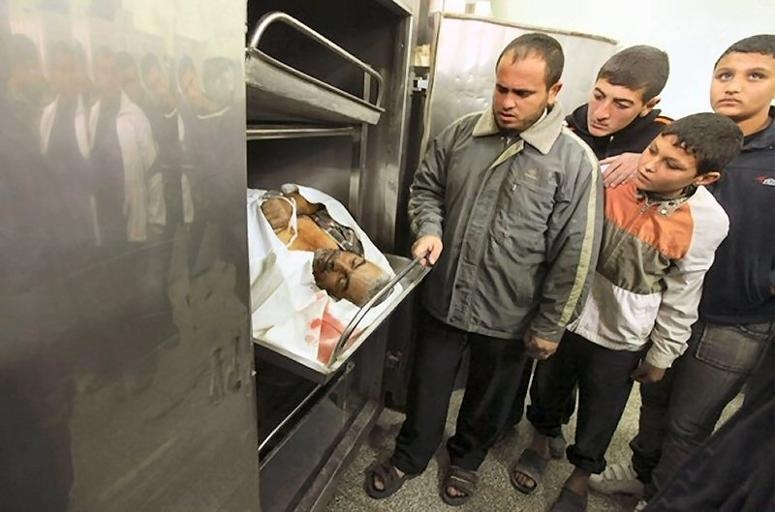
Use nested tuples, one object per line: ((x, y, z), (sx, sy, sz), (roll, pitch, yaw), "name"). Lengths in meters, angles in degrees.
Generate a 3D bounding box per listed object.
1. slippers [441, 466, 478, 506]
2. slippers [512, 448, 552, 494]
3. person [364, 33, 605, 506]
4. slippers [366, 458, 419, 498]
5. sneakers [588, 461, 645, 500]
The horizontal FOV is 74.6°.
((0.287, 0.902, 2.069), (0.101, 0.061, 0.171), (11, 46, 8), "slippers")
((0.612, 0.908, 2.194), (0.092, 0.074, 0.206), (15, 16, 28), "slippers")
((0.543, 0.038, 2.148), (0.536, 1.661, 0.456), (6, 13, 41), "person")
((0.018, 0.868, 2.054), (0.205, 0.073, 0.110), (-9, 35, -31), "slippers")
((0.956, 0.936, 2.133), (0.271, 0.105, 0.102), (8, 38, 1), "sneakers")
